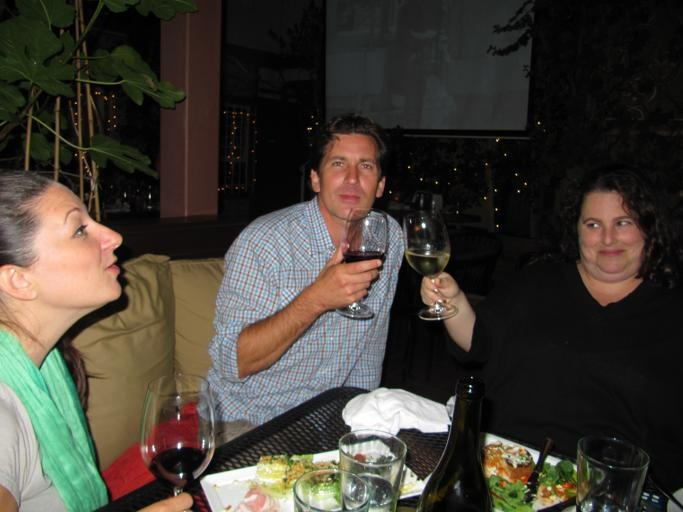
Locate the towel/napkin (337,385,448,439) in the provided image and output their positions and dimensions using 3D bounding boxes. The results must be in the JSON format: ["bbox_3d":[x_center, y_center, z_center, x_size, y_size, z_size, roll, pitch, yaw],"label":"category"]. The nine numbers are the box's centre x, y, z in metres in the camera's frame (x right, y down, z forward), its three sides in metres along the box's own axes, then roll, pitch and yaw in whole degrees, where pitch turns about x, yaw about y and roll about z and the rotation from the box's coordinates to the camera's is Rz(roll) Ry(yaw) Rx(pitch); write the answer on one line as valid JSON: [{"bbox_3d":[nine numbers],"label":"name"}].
[{"bbox_3d":[0.165,0.434,1.555,0.208,0.059,0.150,3,10,13],"label":"towel/napkin"}]

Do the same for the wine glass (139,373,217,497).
[{"bbox_3d":[-0.392,0.439,1.293,0.167,0.249,0.111,-2,8,-21],"label":"wine glass"}]

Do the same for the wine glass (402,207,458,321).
[{"bbox_3d":[0.331,0.045,1.975,0.195,0.428,0.284,3,8,12],"label":"wine glass"}]

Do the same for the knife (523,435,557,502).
[{"bbox_3d":[0.509,0.571,1.407,0.044,0.031,0.331,6,18,23],"label":"knife"}]

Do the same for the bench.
[{"bbox_3d":[-0.919,0.367,2.268,0.351,0.972,0.936,8,6,20],"label":"bench"}]
